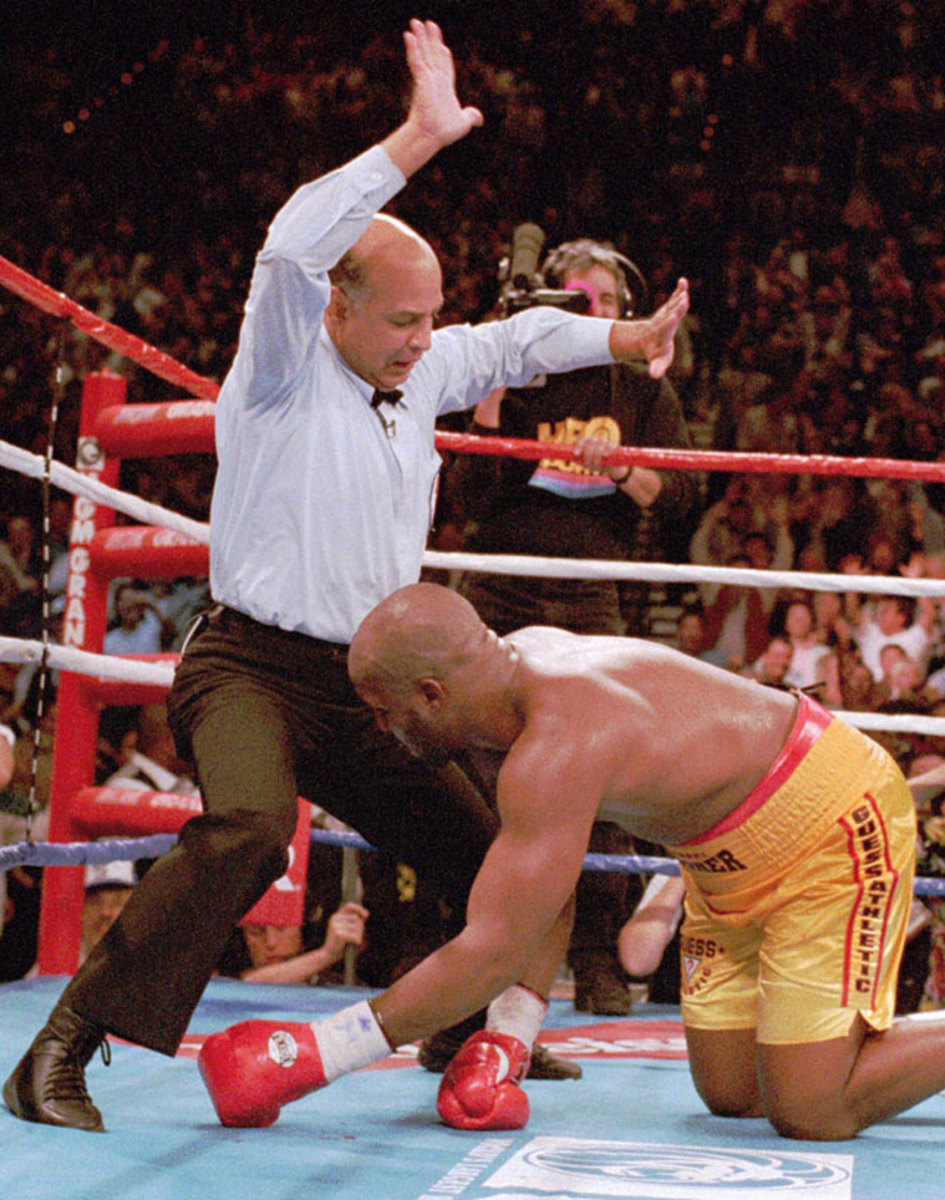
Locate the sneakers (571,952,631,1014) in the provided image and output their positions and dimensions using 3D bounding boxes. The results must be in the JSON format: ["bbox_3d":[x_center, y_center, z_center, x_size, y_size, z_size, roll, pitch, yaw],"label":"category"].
[{"bbox_3d":[0.264,0.776,2.668,0.100,0.044,0.137,3,21,-9],"label":"sneakers"}]

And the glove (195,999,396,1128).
[{"bbox_3d":[-0.198,0.491,1.426,0.204,0.059,0.102,-6,37,-20],"label":"glove"}]

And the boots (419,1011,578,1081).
[{"bbox_3d":[0.025,0.603,1.828,0.287,0.091,0.087,3,-4,-2],"label":"boots"}]

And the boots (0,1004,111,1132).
[{"bbox_3d":[-0.442,0.490,1.404,0.107,0.121,0.152,1,19,-14],"label":"boots"}]

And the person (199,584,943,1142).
[{"bbox_3d":[0.126,0.317,1.513,0.832,0.667,0.362,3,21,-9],"label":"person"}]
